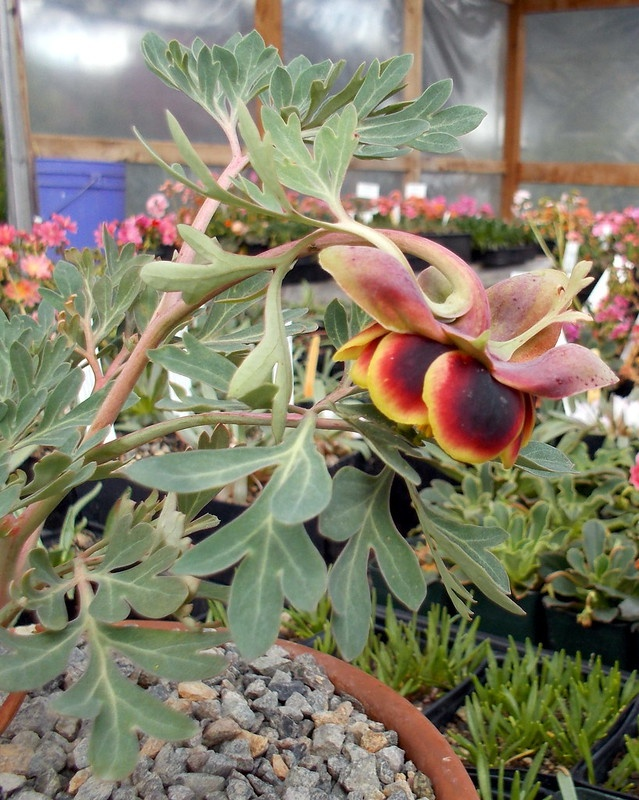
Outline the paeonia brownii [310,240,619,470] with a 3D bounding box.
[{"bbox_3d":[0.076,-0.030,0.413,0.162,0.121,0.111,5,10,-2],"label":"paeonia brownii"}]
